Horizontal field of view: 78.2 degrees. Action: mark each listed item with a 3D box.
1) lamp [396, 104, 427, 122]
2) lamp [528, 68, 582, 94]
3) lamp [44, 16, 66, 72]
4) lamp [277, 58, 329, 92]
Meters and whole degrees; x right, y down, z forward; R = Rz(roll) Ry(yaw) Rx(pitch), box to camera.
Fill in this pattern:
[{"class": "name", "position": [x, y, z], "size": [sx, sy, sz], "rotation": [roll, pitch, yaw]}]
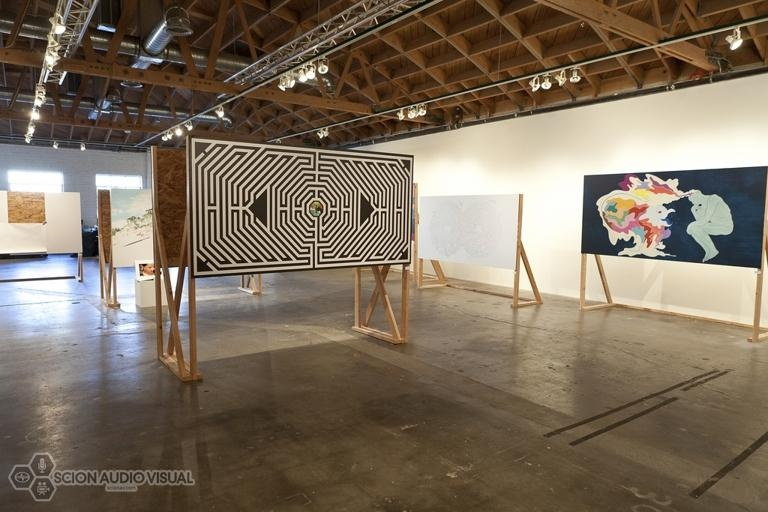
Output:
[{"class": "lamp", "position": [0.664, -3.667, 12.056], "size": [0.607, 0.388, 1.589], "rotation": [0, 5, -5]}, {"class": "lamp", "position": [3.517, -3.618, 9.716], "size": [1.494, 0.493, 0.153], "rotation": [-26, 30, -23]}, {"class": "lamp", "position": [-5.609, -3.675, 8.040], "size": [0.268, 0.724, 1.835], "rotation": [-3, 7, -36]}, {"class": "lamp", "position": [-1.524, -3.595, 9.162], "size": [0.159, 0.232, 0.875], "rotation": [30, 50, 33]}]
